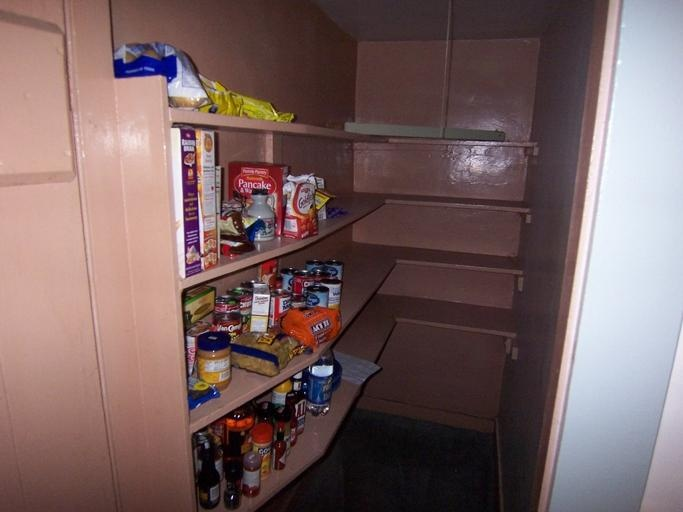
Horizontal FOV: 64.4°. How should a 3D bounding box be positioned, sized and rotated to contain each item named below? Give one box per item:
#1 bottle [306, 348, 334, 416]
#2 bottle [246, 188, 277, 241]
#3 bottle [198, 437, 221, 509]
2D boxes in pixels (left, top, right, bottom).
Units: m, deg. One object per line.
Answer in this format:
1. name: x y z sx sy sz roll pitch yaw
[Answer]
1. bottle: -0.069 0.532 2.193 0.081 0.212 0.135 15 17 39
2. bottle: -0.262 -0.132 1.830 0.155 0.202 0.152 1 8 0
3. bottle: -0.426 0.704 1.741 0.078 0.212 0.078 4 13 -1
